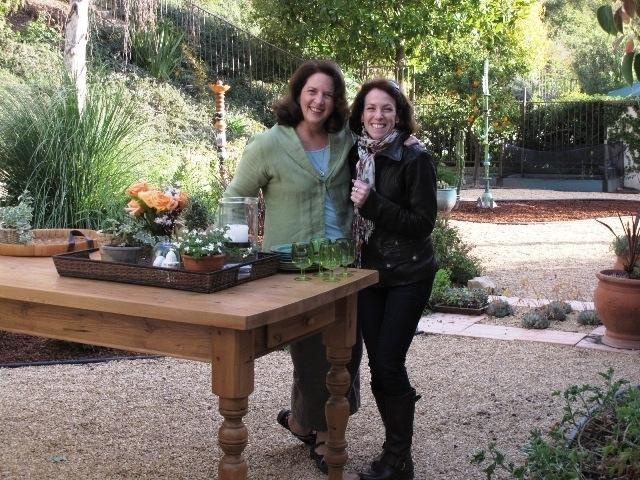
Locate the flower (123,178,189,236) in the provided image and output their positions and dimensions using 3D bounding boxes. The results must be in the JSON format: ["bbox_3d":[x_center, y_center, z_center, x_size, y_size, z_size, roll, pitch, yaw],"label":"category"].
[{"bbox_3d":[-0.796,-0.140,2.725,0.270,0.266,0.151,-2,11,-17],"label":"flower"}]

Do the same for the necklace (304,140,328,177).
[{"bbox_3d":[-0.004,-0.452,3.147,0.134,0.167,0.113,-2,11,-16],"label":"necklace"}]

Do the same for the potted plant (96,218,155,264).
[{"bbox_3d":[-0.991,0.015,2.779,0.254,0.243,0.229,2,-3,25],"label":"potted plant"}]

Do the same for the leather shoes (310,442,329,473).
[{"bbox_3d":[-0.015,1.265,3.328,0.080,0.059,0.229,27,31,-43],"label":"leather shoes"}]

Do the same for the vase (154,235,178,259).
[{"bbox_3d":[-0.742,0.031,2.666,0.103,0.106,0.107,3,1,-5],"label":"vase"}]
